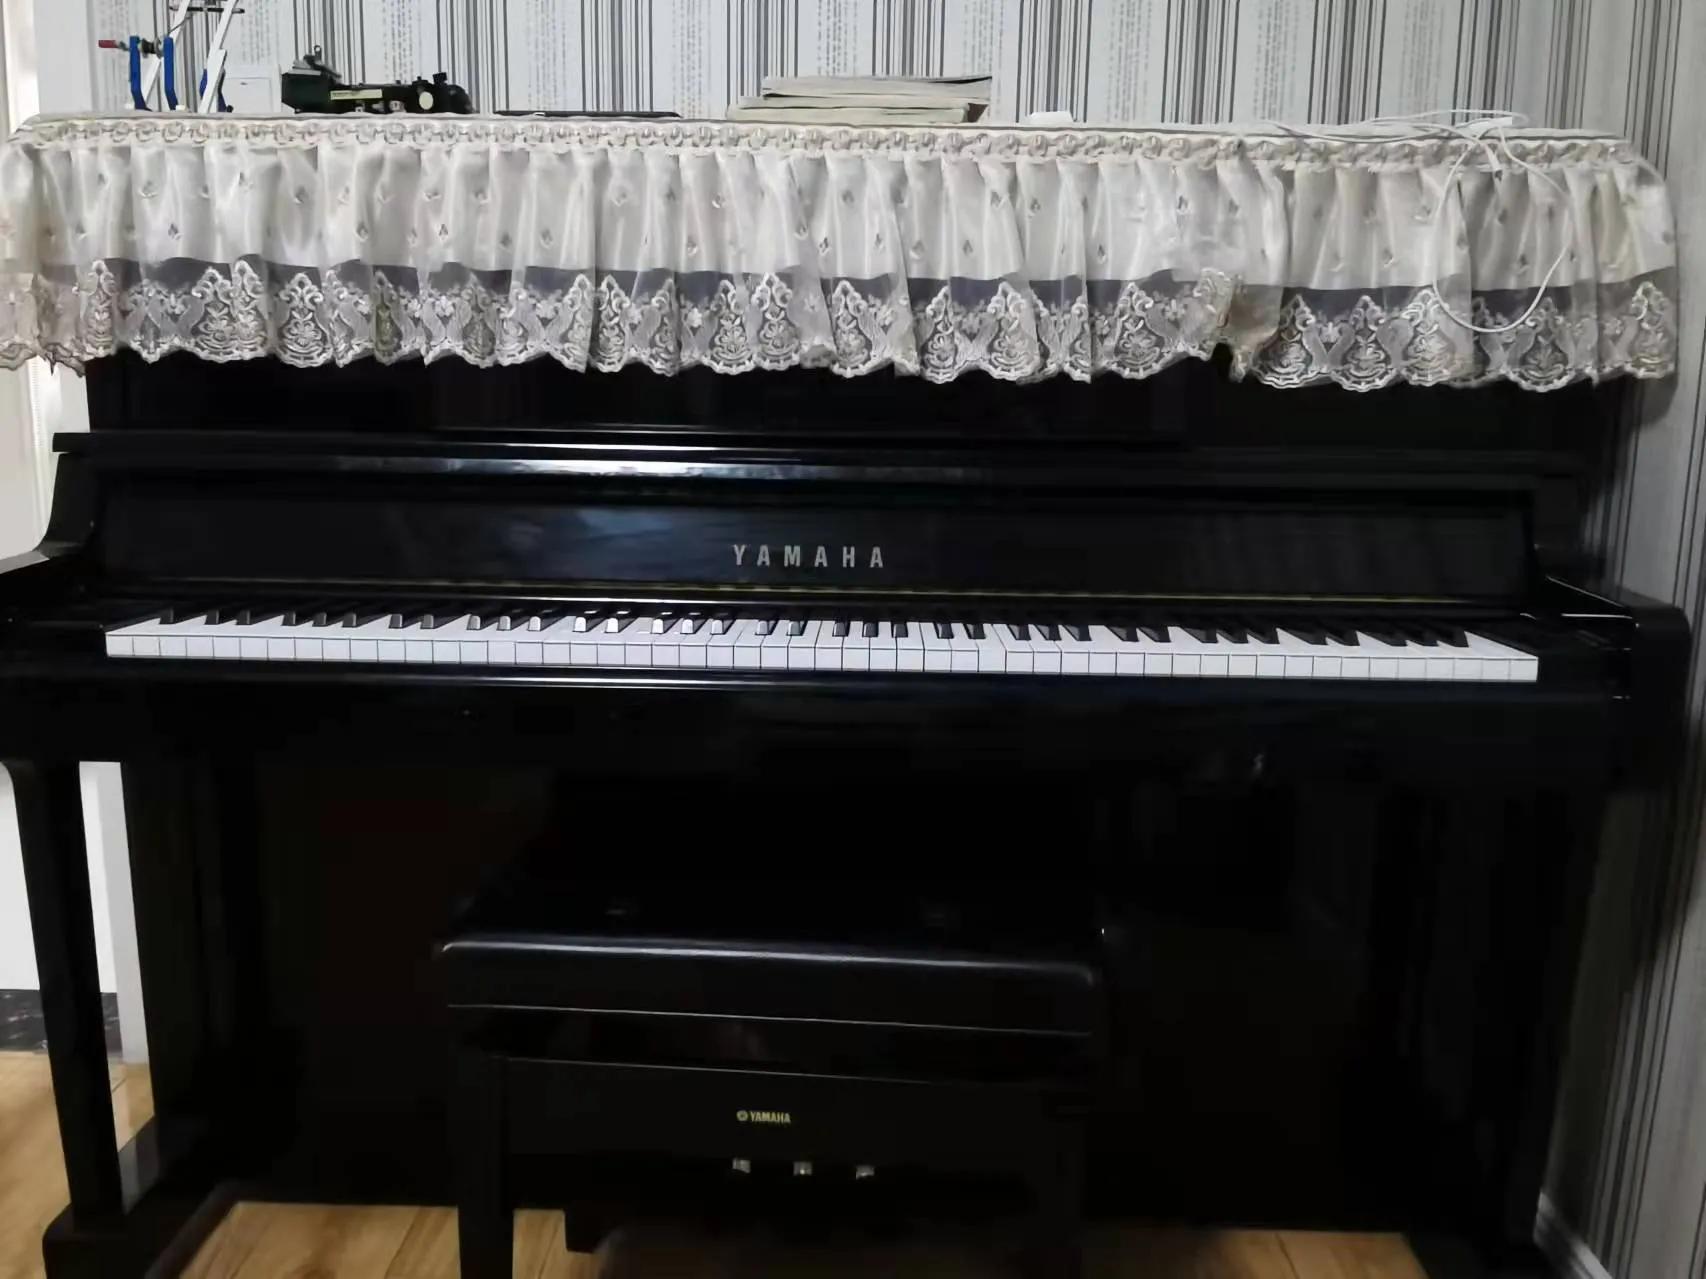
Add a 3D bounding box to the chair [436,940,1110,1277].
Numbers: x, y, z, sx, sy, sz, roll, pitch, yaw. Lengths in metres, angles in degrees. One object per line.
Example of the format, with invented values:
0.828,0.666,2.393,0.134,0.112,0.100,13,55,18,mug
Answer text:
-0.071,0.583,2.374,0.678,0.391,0.519,1,2,1,chair
